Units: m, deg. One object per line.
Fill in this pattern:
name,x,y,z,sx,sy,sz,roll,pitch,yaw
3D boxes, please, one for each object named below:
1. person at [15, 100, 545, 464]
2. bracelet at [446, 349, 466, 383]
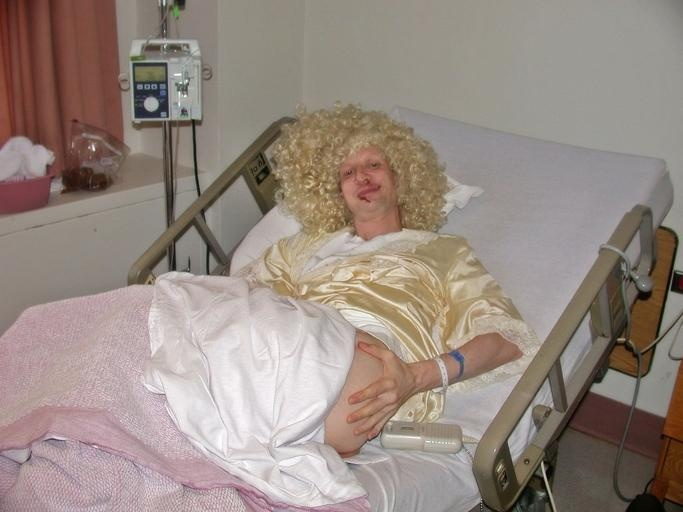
person,-0.035,0.069,2.097,1.338,0.598,1.595,-6,33,9
bracelet,0.361,0.360,1.777,0.017,0.080,0.075,0,1,-10
